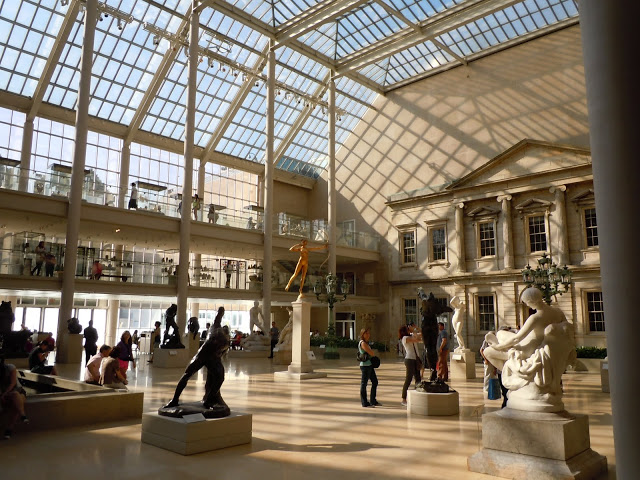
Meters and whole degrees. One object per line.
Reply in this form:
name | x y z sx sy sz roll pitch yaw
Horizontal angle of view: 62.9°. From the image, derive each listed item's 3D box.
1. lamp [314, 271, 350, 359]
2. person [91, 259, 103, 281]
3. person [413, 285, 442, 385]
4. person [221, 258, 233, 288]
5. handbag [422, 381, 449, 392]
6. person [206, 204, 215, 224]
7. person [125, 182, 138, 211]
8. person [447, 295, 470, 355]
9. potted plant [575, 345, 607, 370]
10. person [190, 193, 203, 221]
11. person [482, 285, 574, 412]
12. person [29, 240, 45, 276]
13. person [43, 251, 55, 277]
lamp | 0.615 3.510 26.538 1.491 3.638 1.577 0 -3 17
person | -9.420 1.247 22.000 0.441 0.864 0.141 7 -11 -31
person | 2.294 1.903 10.645 0.600 1.898 0.484 6 -23 -9
person | -4.741 1.766 26.995 0.512 1.473 0.333 5 -10 -22
handbag | 2.320 2.947 10.454 0.330 0.121 0.252 -4 -8 28
person | -5.460 -1.269 26.112 0.354 0.959 0.481 1 -9 2
person | -8.365 -1.805 23.282 0.447 0.986 0.321 10 -12 -42
person | 4.776 2.917 17.978 0.570 1.974 0.558 1 -11 -15
potted plant | 10.408 4.581 20.076 1.048 0.881 1.236 -4 -11 30
person | -6.176 -1.634 26.101 0.492 1.581 1.170 4 -9 -14
person | 2.887 1.566 7.304 1.145 1.603 0.803 -7 -10 39
person | -10.927 0.719 20.216 0.446 1.341 0.296 9 -12 -39
person | -10.589 0.947 20.387 0.387 0.912 0.106 7 -11 -31
